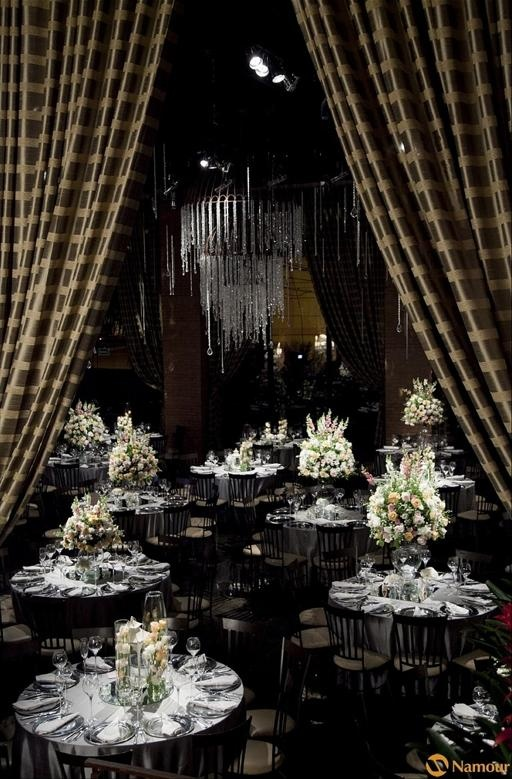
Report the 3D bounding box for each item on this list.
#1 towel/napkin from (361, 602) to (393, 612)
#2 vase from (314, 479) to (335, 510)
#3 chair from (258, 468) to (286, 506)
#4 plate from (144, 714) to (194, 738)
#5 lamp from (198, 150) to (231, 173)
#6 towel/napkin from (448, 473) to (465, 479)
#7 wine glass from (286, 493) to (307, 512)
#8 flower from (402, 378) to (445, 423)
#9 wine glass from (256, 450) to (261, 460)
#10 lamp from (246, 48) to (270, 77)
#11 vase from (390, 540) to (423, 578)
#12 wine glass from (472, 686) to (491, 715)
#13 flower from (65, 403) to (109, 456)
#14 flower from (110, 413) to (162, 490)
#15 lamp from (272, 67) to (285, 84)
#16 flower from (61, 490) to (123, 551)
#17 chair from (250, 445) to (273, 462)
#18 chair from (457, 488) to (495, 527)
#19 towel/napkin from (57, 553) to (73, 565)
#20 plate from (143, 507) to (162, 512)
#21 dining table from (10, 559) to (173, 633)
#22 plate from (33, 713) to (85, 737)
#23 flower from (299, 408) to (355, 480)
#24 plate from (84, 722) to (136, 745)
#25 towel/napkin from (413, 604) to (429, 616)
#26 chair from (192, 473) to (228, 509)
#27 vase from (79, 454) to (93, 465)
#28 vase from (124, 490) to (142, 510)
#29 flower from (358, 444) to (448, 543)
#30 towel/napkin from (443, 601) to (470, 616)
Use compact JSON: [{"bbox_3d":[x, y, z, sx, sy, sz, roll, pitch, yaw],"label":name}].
[{"bbox_3d":[0.763,1.383,4.006,0.190,0.043,0.168,-1,-2,13],"label":"towel/napkin"},{"bbox_3d":[0.671,1.068,6.386,0.210,0.260,0.223,0,-5,0],"label":"vase"},{"bbox_3d":[0.191,1.275,8.268,0.342,0.543,0.322,0,1,8],"label":"chair"},{"bbox_3d":[-0.370,1.419,2.686,0.199,0.027,0.202,-1,-2,-10],"label":"plate"},{"bbox_3d":[-0.481,-2.768,7.792,0.250,0.157,0.330,11,2,33],"label":"lamp"},{"bbox_3d":[2.633,1.148,8.395,0.155,0.061,0.163,1,6,8],"label":"towel/napkin"},{"bbox_3d":[0.412,1.147,6.508,0.211,0.258,0.222,0,0,3],"label":"wine glass"},{"bbox_3d":[2.578,0.202,10.089,0.724,1.005,0.739,0,3,20],"label":"flower"},{"bbox_3d":[0.038,0.983,9.253,0.069,0.142,0.237,-1,-2,-1],"label":"wine glass"},{"bbox_3d":[0.032,-3.275,6.380,0.199,0.116,0.406,-1,-2,9],"label":"lamp"},{"bbox_3d":[0.994,1.116,4.186,0.198,0.250,0.219,0,-7,3],"label":"vase"},{"bbox_3d":[0.943,1.311,2.673,0.037,0.121,0.087,-12,2,11],"label":"wine glass"},{"bbox_3d":[-2.643,0.584,9.943,0.654,0.838,0.956,0,-2,-16],"label":"flower"},{"bbox_3d":[-1.470,0.725,7.603,0.530,0.936,2.532,-1,-2,-9],"label":"flower"},{"bbox_3d":[0.233,-3.228,6.550,0.135,0.070,0.221,-1,-2,3],"label":"lamp"},{"bbox_3d":[-1.213,0.978,4.654,0.417,0.556,0.447,-3,5,-33],"label":"flower"},{"bbox_3d":[0.082,0.950,9.528,0.278,0.362,0.254,0,-3,-1],"label":"chair"},{"bbox_3d":[2.658,1.429,7.693,0.396,0.334,0.776,-2,-2,28],"label":"chair"},{"bbox_3d":[-1.484,1.334,4.962,0.075,0.128,0.077,1,-1,-9],"label":"towel/napkin"},{"bbox_3d":[-1.062,1.232,6.522,0.173,0.050,0.174,0,-2,-18],"label":"plate"},{"bbox_3d":[-1.240,1.476,4.498,1.111,0.416,1.081,-1,-2,3],"label":"dining table"},{"bbox_3d":[-0.827,1.430,2.681,0.201,0.018,0.153,0,-2,-21],"label":"plate"},{"bbox_3d":[0.706,0.599,6.613,0.655,0.951,0.679,1,-9,-2],"label":"flower"},{"bbox_3d":[-0.595,1.419,2.614,0.201,0.019,0.175,-2,-2,37],"label":"plate"},{"bbox_3d":[0.999,1.355,3.869,0.056,0.081,0.128,3,4,2],"label":"towel/napkin"},{"bbox_3d":[-0.591,1.263,8.032,0.308,0.552,0.369,9,20,25],"label":"chair"},{"bbox_3d":[-2.531,1.051,9.528,0.152,0.164,0.160,-1,-7,2],"label":"vase"},{"bbox_3d":[-1.256,1.150,6.560,0.148,0.197,0.173,0,0,3],"label":"vase"},{"bbox_3d":[0.983,0.740,4.209,0.484,0.595,0.427,-1,-2,4],"label":"flower"},{"bbox_3d":[1.226,1.349,3.883,0.136,0.035,0.180,-1,-2,6],"label":"towel/napkin"}]
